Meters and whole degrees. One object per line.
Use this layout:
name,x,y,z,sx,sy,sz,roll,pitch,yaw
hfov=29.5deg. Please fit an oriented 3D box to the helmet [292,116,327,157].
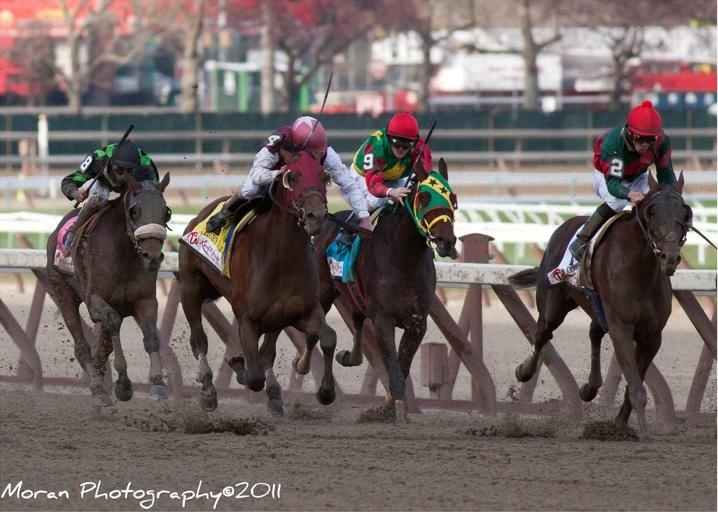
helmet,-0.402,-0.914,10.547,0.271,0.263,0.236,-1,10,5

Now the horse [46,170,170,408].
horse,-2.045,0.251,11.218,0.668,1.823,1.431,-11,13,-43

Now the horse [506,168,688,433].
horse,2.030,0.337,10.972,0.503,1.976,1.524,-8,11,-35

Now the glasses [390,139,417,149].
glasses,0.359,-0.909,11.230,0.205,0.099,0.085,-1,10,4

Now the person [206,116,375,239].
person,-0.631,-0.643,11.217,1.324,0.972,1.971,-11,13,-11

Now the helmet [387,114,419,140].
helmet,0.356,-1.044,11.249,0.266,0.233,0.203,-2,10,1

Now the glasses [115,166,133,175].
glasses,-1.941,-0.668,11.145,0.086,0.063,0.116,3,-11,-5

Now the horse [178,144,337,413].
horse,-0.756,0.194,10.866,0.696,2.064,1.720,-9,12,-37

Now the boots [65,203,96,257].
boots,-2.313,-0.185,11.311,0.109,0.433,0.142,31,2,13

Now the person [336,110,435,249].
person,0.287,-0.598,11.639,0.570,1.333,1.603,-6,15,-17
